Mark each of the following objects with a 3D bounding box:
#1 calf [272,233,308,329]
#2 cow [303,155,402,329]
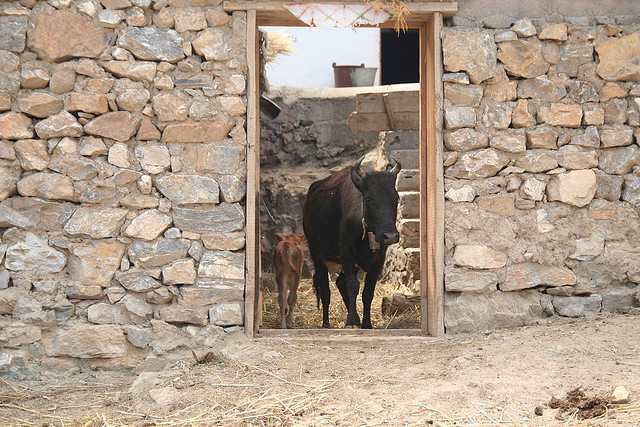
[{"bbox_3d":[-0.352,0.718,8.529,0.444,0.899,0.528,1,-3,-3],"label":"calf"},{"bbox_3d":[0.378,0.447,9.397,0.960,1.886,3.193,2,-7,-11],"label":"cow"}]
